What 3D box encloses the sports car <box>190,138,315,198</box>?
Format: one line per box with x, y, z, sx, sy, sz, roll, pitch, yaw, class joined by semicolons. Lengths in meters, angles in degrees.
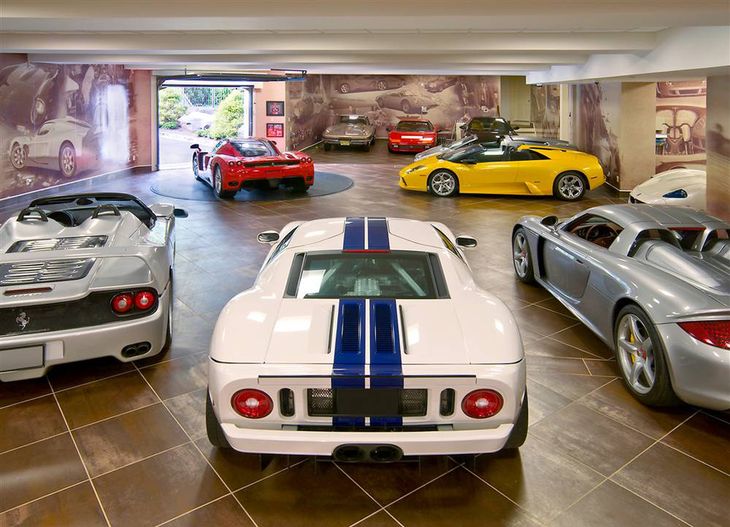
-3.546;-2.758;11.370;3.593;1.640;1.875;5;17;22;sports car

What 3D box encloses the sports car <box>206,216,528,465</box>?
-0.042;0.173;3.723;2.024;0.930;3.544;0;22;-2;sports car

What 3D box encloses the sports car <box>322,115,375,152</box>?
-0.897;-7.028;21.204;2.563;1.876;2.506;-2;16;-3;sports car
